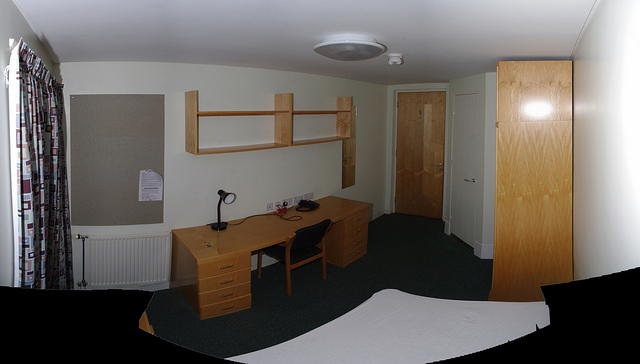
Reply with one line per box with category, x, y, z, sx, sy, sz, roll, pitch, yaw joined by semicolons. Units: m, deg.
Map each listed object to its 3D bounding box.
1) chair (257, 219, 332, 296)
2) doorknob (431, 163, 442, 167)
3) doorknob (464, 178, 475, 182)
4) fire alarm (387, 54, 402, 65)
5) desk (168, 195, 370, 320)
chair;-0.226;0.835;5.483;0.993;1.042;0.913;8;8;42
doorknob;2.132;-0.313;7.604;0.060;0.049;0.212;-6;9;-36
doorknob;2.285;-0.027;6.348;0.115;0.050;0.061;4;-2;-6
fire alarm;0.816;-1.334;4.514;0.152;0.070;0.199;0;7;7
desk;-0.506;0.816;5.407;2.542;0.722;0.974;-13;23;-35
